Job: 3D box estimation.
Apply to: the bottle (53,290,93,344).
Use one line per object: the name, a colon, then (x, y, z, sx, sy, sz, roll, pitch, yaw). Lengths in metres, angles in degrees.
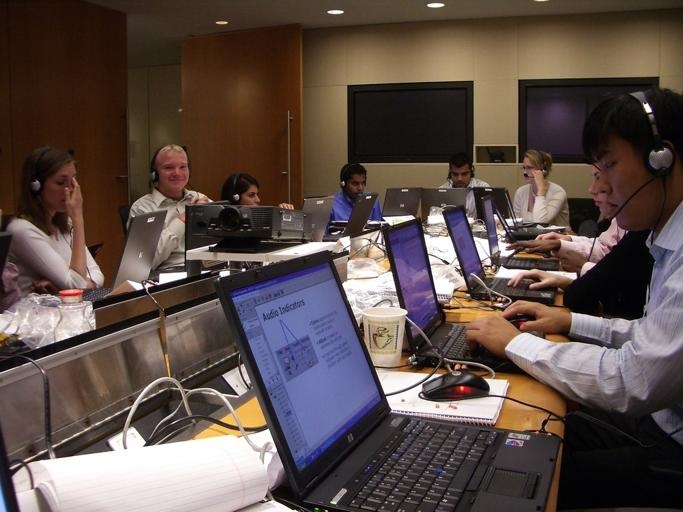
bottle: (-0.708, 0.164, 1.303, 0.082, 0.160, 0.088, -1, 9, 0)

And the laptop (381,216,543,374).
laptop: (0.397, 0.108, 1.575, 0.392, 0.362, 0.473, 2, 9, 16)

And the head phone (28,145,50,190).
head phone: (-1.708, -0.491, 2.813, 0.141, 0.250, 0.197, -11, 14, -29)

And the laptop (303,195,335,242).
laptop: (-0.081, -0.275, 3.285, 0.252, 0.265, 0.363, 2, 9, 22)

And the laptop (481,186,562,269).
laptop: (1.163, -0.130, 3.266, 0.390, 0.542, 0.751, -7, 9, 16)

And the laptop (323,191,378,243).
laptop: (0.076, -0.307, 3.920, 0.306, 0.292, 0.442, -15, 6, 31)

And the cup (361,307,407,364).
cup: (0.120, 0.222, 1.496, 0.142, 0.162, 0.145, -1, 6, 0)

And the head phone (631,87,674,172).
head phone: (0.832, -0.336, 1.335, 0.059, 0.222, 0.153, -4, 12, -1)

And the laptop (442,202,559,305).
laptop: (0.718, -0.012, 2.250, 0.421, 0.394, 0.517, -3, 8, 15)

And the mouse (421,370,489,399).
mouse: (0.288, 0.327, 1.246, 0.109, 0.037, 0.082, -1, 5, 5)

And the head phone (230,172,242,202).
head phone: (-0.809, -0.529, 3.843, 0.138, 0.208, 0.083, -1, 3, 29)

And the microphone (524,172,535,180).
microphone: (2.101, -0.907, 5.525, 0.114, 0.071, 0.129, 14, 16, 34)
